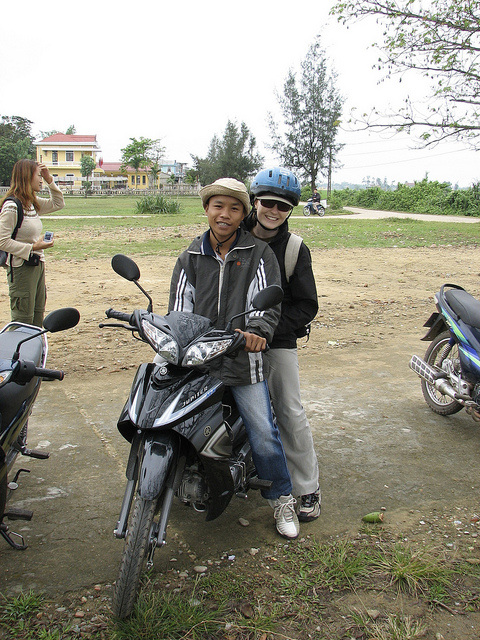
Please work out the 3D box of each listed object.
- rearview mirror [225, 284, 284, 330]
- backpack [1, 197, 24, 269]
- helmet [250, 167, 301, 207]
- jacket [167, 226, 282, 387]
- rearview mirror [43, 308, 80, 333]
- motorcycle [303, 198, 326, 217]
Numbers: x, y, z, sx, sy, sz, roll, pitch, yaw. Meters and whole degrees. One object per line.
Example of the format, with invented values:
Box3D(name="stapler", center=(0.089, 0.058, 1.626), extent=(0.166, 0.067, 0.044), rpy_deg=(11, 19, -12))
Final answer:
Box3D(name="rearview mirror", center=(0.083, -0.080, 2.025), extent=(0.176, 0.136, 0.124), rpy_deg=(5, 9, 16))
Box3D(name="backpack", center=(-2.092, -0.819, 4.517), extent=(0.201, 0.635, 0.540), rpy_deg=(-2, 10, -23))
Box3D(name="helmet", center=(0.190, -0.743, 2.652), extent=(0.272, 0.207, 0.317), rpy_deg=(3, 9, 4))
Box3D(name="jacket", center=(-0.066, -0.061, 2.319), extent=(0.530, 0.769, 0.494), rpy_deg=(1, 9, -8))
Box3D(name="rearview mirror", center=(-0.710, -0.002, 1.975), extent=(0.120, 0.112, 0.160), rpy_deg=(2, 9, -4))
Box3D(name="motorcycle", center=(5.704, -7.960, 34.731), extent=(1.979, 1.307, 1.059), rpy_deg=(1, 9, -26))
